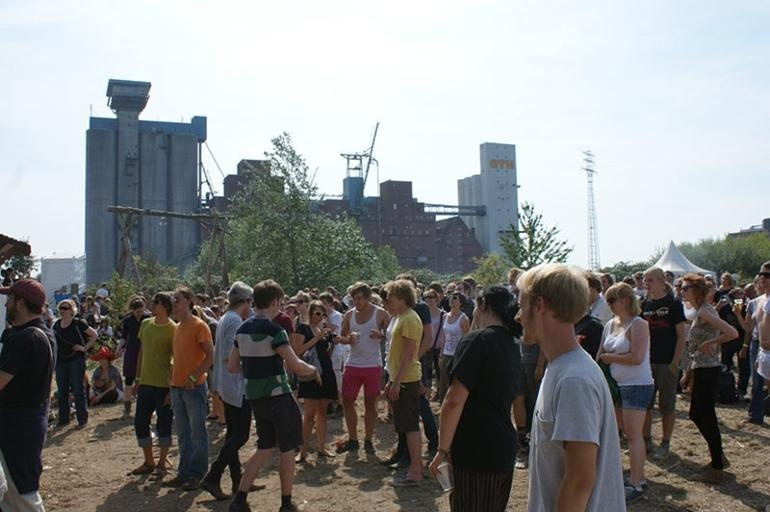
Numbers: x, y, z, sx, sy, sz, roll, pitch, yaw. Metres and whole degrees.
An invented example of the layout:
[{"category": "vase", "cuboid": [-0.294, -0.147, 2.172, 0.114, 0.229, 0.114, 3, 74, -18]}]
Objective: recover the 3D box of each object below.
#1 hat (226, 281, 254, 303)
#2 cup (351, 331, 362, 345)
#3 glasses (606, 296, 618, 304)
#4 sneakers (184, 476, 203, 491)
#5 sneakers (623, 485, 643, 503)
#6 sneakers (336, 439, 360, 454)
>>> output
[{"category": "hat", "cuboid": [-2.365, 0.554, 13.706, 0.287, 0.376, 0.412, 2, 14, 13]}, {"category": "cup", "cuboid": [-0.483, 1.426, 14.364, 0.154, 0.165, 0.160, 1, 2, 0]}, {"category": "glasses", "cuboid": [3.575, 0.700, 12.965, 0.175, 0.133, 0.096, 0, -1, 20]}, {"category": "sneakers", "cuboid": [-3.123, 3.730, 13.585, 0.169, 0.215, 0.477, -9, -19, 26]}, {"category": "sneakers", "cuboid": [3.865, 3.616, 12.725, 0.362, 0.263, 0.252, 1, -1, -7]}, {"category": "sneakers", "cuboid": [-0.637, 3.408, 14.806, 0.392, 0.272, 0.199, 5, -9, 0]}]
